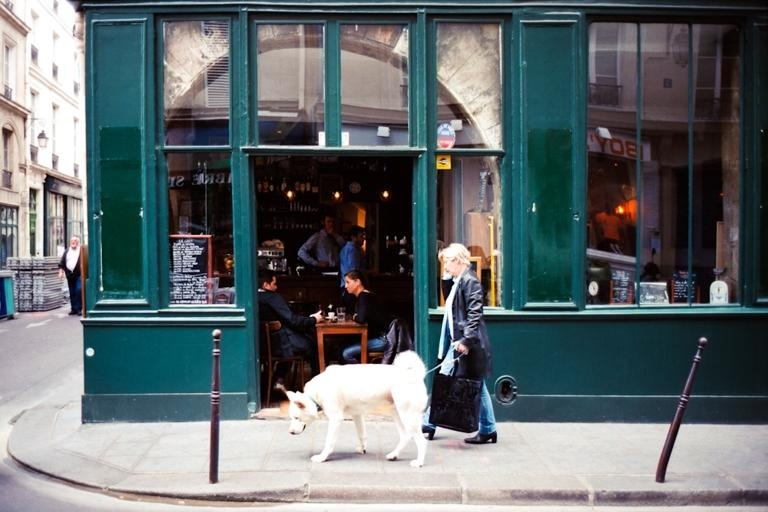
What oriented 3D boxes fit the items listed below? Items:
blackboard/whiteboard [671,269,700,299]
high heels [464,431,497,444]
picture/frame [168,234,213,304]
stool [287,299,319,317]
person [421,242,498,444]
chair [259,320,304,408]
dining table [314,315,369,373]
[{"bbox_3d":[4.880,0.449,12.971,0.421,0.582,0.369,3,28,20],"label":"blackboard/whiteboard"},{"bbox_3d":[1.457,2.707,11.868,0.525,0.243,0.184,2,-3,-2],"label":"high heels"},{"bbox_3d":[-3.058,0.203,12.626,0.639,1.080,0.180,-1,2,6],"label":"picture/frame"},{"bbox_3d":[-1.530,0.971,14.883,0.457,0.264,0.441,1,-1,-28],"label":"stool"},{"bbox_3d":[1.112,1.342,11.848,1.195,2.852,0.956,2,0,20],"label":"person"},{"bbox_3d":[-1.698,1.792,13.467,0.702,1.365,0.779,0,0,-16],"label":"chair"},{"bbox_3d":[-0.677,1.559,13.421,0.754,1.050,0.615,0,0,1],"label":"dining table"}]
